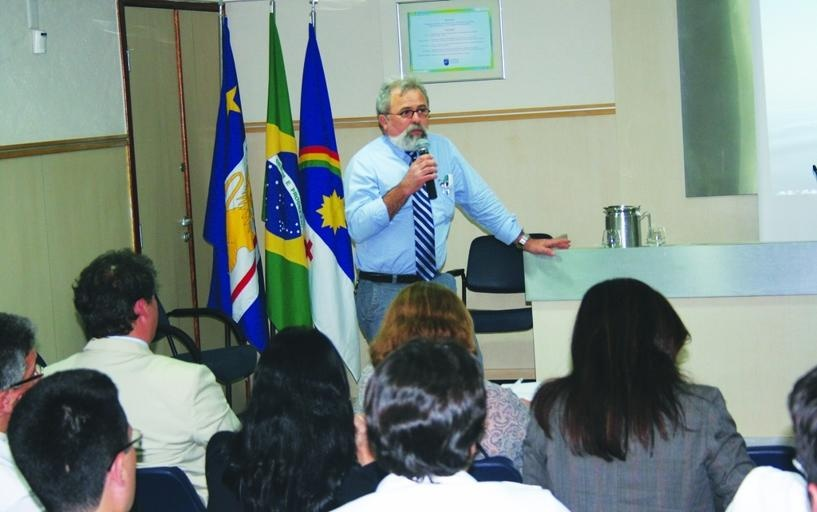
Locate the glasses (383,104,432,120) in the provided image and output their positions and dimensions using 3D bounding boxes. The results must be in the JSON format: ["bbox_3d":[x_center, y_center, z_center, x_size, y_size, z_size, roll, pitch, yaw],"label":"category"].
[{"bbox_3d":[-0.016,-0.759,3.898,0.238,0.059,0.091,-5,6,-2],"label":"glasses"}]

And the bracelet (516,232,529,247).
[{"bbox_3d":[0.596,-0.083,3.898,0.052,0.083,0.082,25,14,16],"label":"bracelet"}]

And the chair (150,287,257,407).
[{"bbox_3d":[-1.233,0.762,4.425,0.511,0.875,0.587,11,5,-20],"label":"chair"}]

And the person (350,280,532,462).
[{"bbox_3d":[0.168,0.457,3.058,0.586,1.090,0.644,-1,-6,-3],"label":"person"}]

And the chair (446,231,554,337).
[{"bbox_3d":[0.598,0.157,5.143,0.734,1.026,0.659,0,-3,3],"label":"chair"}]

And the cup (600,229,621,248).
[{"bbox_3d":[1.023,-0.089,3.739,0.081,0.084,0.086,0,-4,0],"label":"cup"}]

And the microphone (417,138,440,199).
[{"bbox_3d":[0.097,-0.463,3.898,0.091,0.328,0.182,-4,6,3],"label":"microphone"}]
